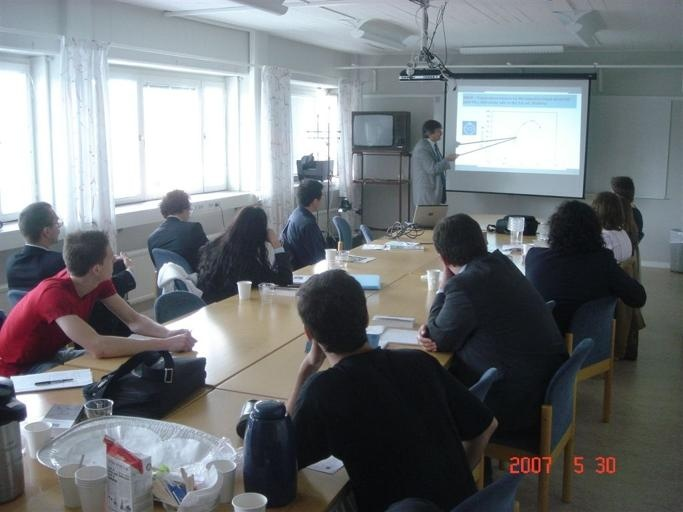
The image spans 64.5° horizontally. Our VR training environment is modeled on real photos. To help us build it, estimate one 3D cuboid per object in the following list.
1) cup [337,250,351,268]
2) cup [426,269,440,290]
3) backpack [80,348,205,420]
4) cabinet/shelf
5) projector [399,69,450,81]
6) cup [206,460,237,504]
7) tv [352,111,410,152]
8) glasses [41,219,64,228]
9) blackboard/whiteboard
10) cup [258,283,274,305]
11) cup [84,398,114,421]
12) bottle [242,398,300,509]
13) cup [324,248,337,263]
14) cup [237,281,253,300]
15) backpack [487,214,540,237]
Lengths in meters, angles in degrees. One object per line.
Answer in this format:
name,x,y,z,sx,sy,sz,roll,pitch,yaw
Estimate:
cup,0.008,0.045,4.445,0.090,0.139,0.140,0,0,-4
cup,0.617,0.172,3.830,0.112,0.130,0.117,1,11,0
backpack,-0.777,0.466,2.147,0.344,0.139,0.274,5,14,22
cabinet/shelf,0.724,-1.341,9.183,1.028,1.897,0.657,1,10,12
projector,0.806,-1.811,5.454,0.361,0.102,0.456,-5,15,-23
cup,-0.353,0.694,1.683,0.108,0.117,0.110,-3,3,0
tv,0.632,-2.077,9.016,0.918,0.649,0.540,2,21,11
glasses,-2.157,-0.231,4.015,0.125,0.040,0.125,-1,10,2
blackboard/whiteboard,3.189,-1.622,8.023,2.110,1.574,0.173,2,6,24
cup,-0.486,0.249,3.500,0.109,0.138,0.115,2,1,0
cup,-0.891,0.549,1.993,0.091,0.073,0.086,5,8,-1
bottle,-0.221,0.606,1.656,0.165,0.311,0.102,-2,14,-11
cup,-0.094,0.006,4.387,0.092,0.139,0.114,2,1,-7
cup,-0.638,0.231,3.590,0.100,0.103,0.108,0,0,0
backpack,1.778,-0.298,5.597,0.386,0.163,0.284,-2,6,4
